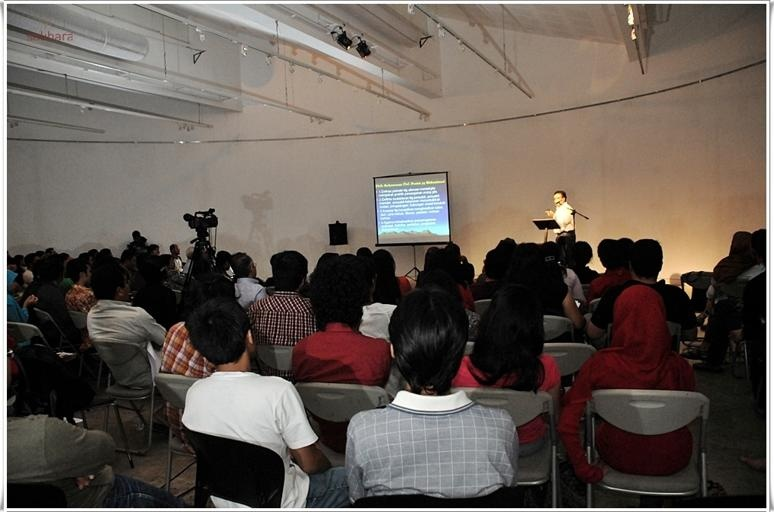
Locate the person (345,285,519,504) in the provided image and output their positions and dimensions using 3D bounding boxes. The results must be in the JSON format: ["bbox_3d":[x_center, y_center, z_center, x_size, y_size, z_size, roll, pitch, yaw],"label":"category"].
[{"bbox_3d":[0.200,0.825,2.521,0.843,1.240,0.662,1,12,-7],"label":"person"}]

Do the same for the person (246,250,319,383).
[{"bbox_3d":[-0.714,0.545,3.947,0.560,1.064,0.530,-5,18,1],"label":"person"}]

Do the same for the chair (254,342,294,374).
[{"bbox_3d":[-0.819,0.720,3.735,0.318,0.248,0.314,-3,7,-13],"label":"chair"}]

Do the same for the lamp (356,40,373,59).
[{"bbox_3d":[-0.368,-3.127,7.802,0.206,0.278,0.101,-12,50,-5],"label":"lamp"}]

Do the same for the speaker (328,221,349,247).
[{"bbox_3d":[-1.073,-0.486,11.275,0.491,0.608,0.487,-2,4,-7],"label":"speaker"}]

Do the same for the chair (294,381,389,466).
[{"bbox_3d":[-0.233,0.972,3.343,0.498,0.694,0.558,1,8,12],"label":"chair"}]

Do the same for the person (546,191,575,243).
[{"bbox_3d":[3.077,-0.768,9.051,0.504,0.862,1.780,2,3,20],"label":"person"}]

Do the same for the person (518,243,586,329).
[{"bbox_3d":[1.402,0.253,4.363,0.380,0.837,0.489,-22,23,22],"label":"person"}]

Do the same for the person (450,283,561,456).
[{"bbox_3d":[0.661,0.712,3.158,0.737,0.964,0.519,7,23,8],"label":"person"}]
